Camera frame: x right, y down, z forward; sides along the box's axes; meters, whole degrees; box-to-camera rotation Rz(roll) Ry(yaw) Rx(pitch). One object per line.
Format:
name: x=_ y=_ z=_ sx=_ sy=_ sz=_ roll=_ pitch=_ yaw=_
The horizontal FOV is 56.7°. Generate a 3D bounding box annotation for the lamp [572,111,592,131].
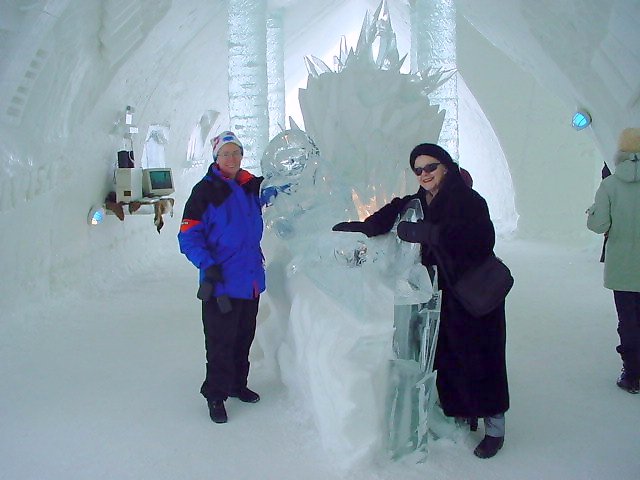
lamp: x=2.488 y=-1.132 z=5.602 sx=0.163 sy=0.183 sz=0.206 roll=1 pitch=11 yaw=24

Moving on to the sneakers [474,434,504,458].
sneakers: x=0.953 y=1.163 z=3.328 sx=0.179 sy=0.087 sz=0.087 roll=-8 pitch=10 yaw=-38

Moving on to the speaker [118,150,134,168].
speaker: x=-1.599 y=-0.657 z=4.860 sx=0.155 sy=0.170 sz=0.093 roll=-12 pitch=18 yaw=-41

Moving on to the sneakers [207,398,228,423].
sneakers: x=-0.636 y=1.047 z=3.683 sx=0.113 sy=0.149 sz=0.128 roll=-5 pitch=10 yaw=-11

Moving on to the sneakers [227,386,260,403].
sneakers: x=-0.482 y=1.005 z=3.843 sx=0.172 sy=0.079 sz=0.092 roll=2 pitch=5 yaw=18

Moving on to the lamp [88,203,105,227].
lamp: x=-1.935 y=-0.214 z=5.094 sx=0.178 sy=0.181 sz=0.141 roll=-2 pitch=10 yaw=7

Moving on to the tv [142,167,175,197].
tv: x=-1.393 y=-0.455 z=5.102 sx=0.232 sy=0.271 sz=0.239 roll=-2 pitch=-12 yaw=-31

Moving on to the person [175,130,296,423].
person: x=-0.566 y=0.205 z=3.770 sx=0.303 sy=1.755 sz=0.597 roll=3 pitch=11 yaw=35

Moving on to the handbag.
handbag: x=0.909 y=0.258 z=3.295 sx=0.331 sy=0.332 sz=0.085 roll=-6 pitch=10 yaw=-12

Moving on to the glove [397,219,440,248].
glove: x=0.552 y=-0.034 z=3.322 sx=0.263 sy=0.141 sz=0.053 roll=6 pitch=13 yaw=41

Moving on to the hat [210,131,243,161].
hat: x=-0.599 y=-0.615 z=3.767 sx=0.148 sy=0.162 sz=0.184 roll=-12 pitch=-7 yaw=-35

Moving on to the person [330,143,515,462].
person: x=0.630 y=0.355 z=3.535 sx=1.010 sy=1.750 sz=0.805 roll=-3 pitch=2 yaw=34
